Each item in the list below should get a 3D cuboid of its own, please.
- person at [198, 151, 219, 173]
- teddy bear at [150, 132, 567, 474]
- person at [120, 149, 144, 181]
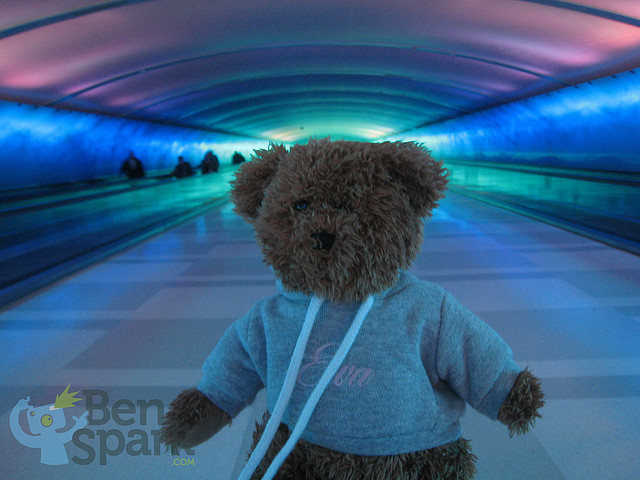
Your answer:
[{"bbox_3d":[-5.233,-3.654,20.149,1.163,1.104,0.293,-5,-4,-7],"label":"person"},{"bbox_3d":[0.132,0.285,1.968,1.649,1.563,0.524,-1,5,-2],"label":"teddy bear"},{"bbox_3d":[-5.431,-2.153,12.308,0.467,0.965,1.251,-2,5,-18],"label":"person"}]
